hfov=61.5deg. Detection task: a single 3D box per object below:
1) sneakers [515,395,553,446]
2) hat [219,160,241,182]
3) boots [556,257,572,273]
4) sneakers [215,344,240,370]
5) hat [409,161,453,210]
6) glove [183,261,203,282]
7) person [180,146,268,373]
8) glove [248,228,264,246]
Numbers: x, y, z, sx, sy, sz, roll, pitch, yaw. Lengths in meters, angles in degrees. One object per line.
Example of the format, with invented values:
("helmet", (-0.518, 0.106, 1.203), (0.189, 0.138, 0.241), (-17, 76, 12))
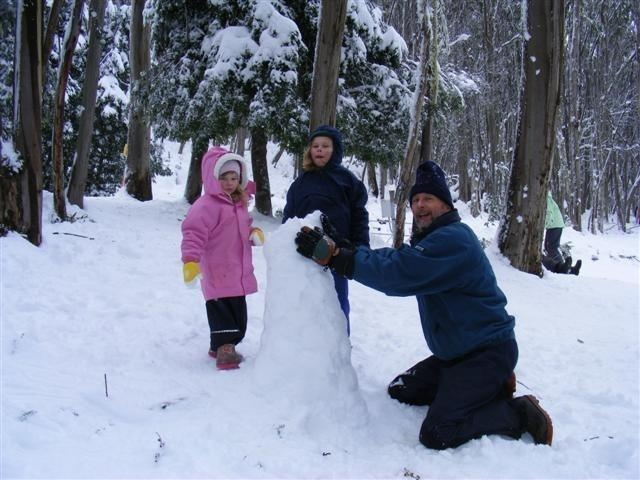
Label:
("sneakers", (2.026, 1.685, 5.160), (0.259, 0.481, 0.162), (9, -28, -32))
("hat", (-0.997, -0.795, 5.947), (0.150, 0.230, 0.176), (7, 36, -18))
("boots", (4.349, 0.448, 9.523), (0.198, 0.296, 0.635), (5, 4, 29))
("sneakers", (-0.973, 1.232, 5.678), (0.157, 0.214, 0.288), (1, -2, 8))
("hat", (1.179, -0.549, 5.611), (0.366, 0.486, 0.474), (-3, -2, 18))
("glove", (-1.315, 0.315, 5.558), (0.166, 0.176, 0.172), (-12, -1, 1))
("person", (-1.056, 0.155, 5.868), (0.877, 2.328, 0.704), (2, 4, -13))
("glove", (-0.702, -0.049, 6.080), (0.153, 0.200, 0.092), (-39, 8, 19))
